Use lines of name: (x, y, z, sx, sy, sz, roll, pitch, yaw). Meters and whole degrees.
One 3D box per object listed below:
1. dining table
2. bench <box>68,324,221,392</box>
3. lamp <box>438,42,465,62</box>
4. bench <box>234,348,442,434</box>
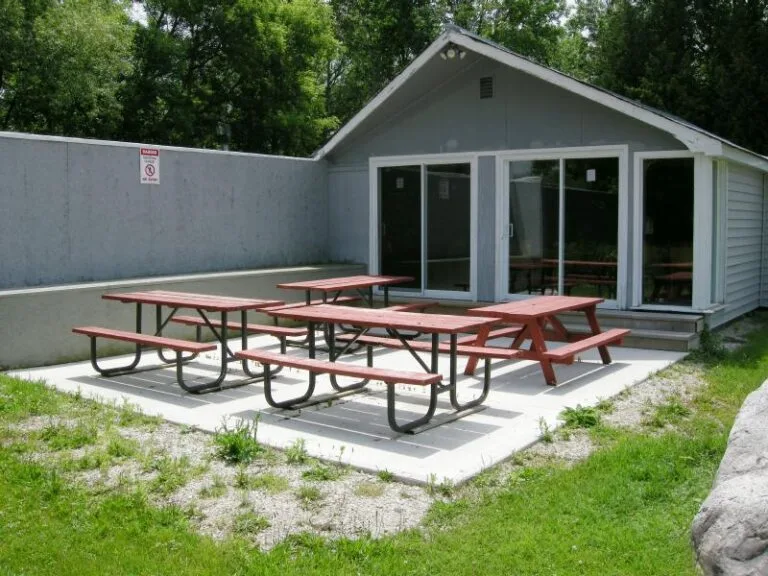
dining table: (0.238, 0.402, 7.131, 1.692, 0.669, 1.169, 5, 10, 39)
bench: (-2.601, 0.617, 7.980, 1.680, 0.488, 0.684, 10, 2, 28)
lamp: (1.064, -3.565, 10.955, 0.266, 0.145, 0.278, -3, 8, -22)
bench: (-0.360, 0.945, 6.668, 1.947, 0.564, 0.596, 4, 6, 30)
